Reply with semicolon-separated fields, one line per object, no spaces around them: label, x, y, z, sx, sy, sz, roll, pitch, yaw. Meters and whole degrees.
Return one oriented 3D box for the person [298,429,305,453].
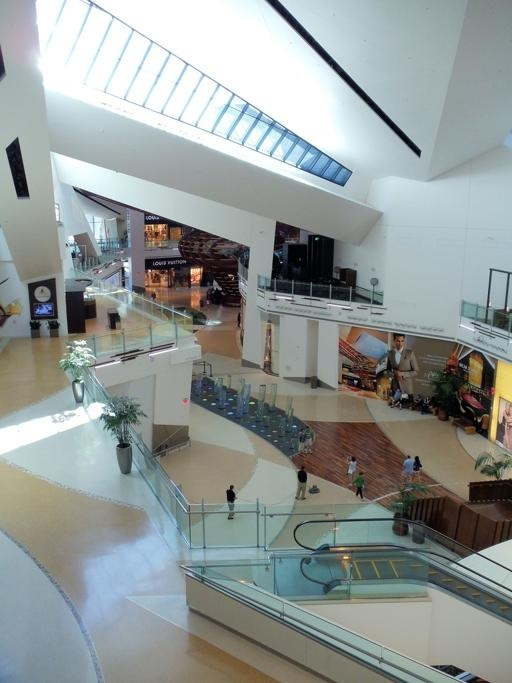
person;1.448;3.124;15.566;0.208;0.575;0.713;14;6;6

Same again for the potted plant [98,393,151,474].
potted plant;-2.413;1.646;8.713;0.657;0.850;0.883;9;7;-35

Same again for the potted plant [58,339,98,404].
potted plant;-3.959;0.733;11.154;0.800;1.271;0.737;3;-2;-17
